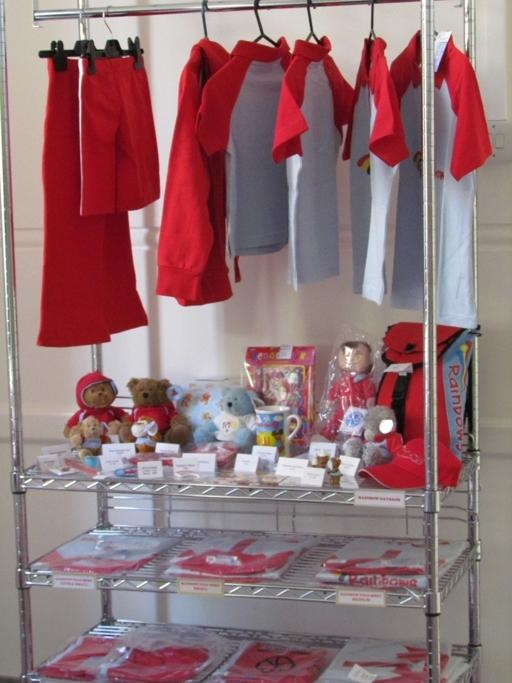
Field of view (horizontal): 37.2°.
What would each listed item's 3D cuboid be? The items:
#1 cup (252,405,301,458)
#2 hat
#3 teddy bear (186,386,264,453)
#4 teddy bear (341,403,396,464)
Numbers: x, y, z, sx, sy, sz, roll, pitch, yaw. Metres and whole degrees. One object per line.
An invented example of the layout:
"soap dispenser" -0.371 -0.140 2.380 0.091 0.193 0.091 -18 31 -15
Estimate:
"cup" 0.060 0.200 1.676 0.127 0.109 0.075 1 -1 4
"hat" 0.298 0.223 1.450 0.163 0.056 0.098 -1 7 -19
"teddy bear" -0.066 0.160 1.786 0.184 0.159 0.148 7 2 27
"teddy bear" 0.219 0.188 1.541 0.118 0.107 0.063 0 -12 42
